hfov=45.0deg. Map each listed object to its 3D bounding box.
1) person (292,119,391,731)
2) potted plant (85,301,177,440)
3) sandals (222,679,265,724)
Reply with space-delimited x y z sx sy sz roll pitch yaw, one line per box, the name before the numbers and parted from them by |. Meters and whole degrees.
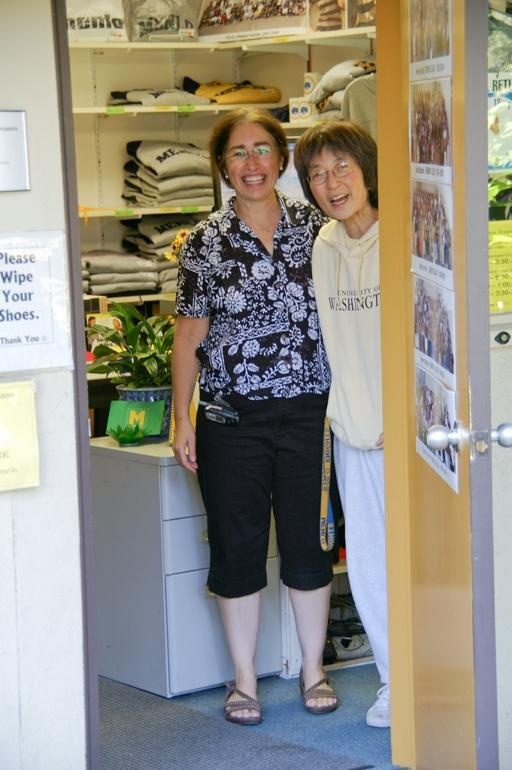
person | 0.256 0.149 1.755 0.231 1.787 0.409 -2 -3 5
potted plant | -0.417 -0.016 2.344 0.472 0.453 0.368 2 8 4
sandals | -0.040 1.035 2.009 0.112 0.069 0.230 1 -7 -2
